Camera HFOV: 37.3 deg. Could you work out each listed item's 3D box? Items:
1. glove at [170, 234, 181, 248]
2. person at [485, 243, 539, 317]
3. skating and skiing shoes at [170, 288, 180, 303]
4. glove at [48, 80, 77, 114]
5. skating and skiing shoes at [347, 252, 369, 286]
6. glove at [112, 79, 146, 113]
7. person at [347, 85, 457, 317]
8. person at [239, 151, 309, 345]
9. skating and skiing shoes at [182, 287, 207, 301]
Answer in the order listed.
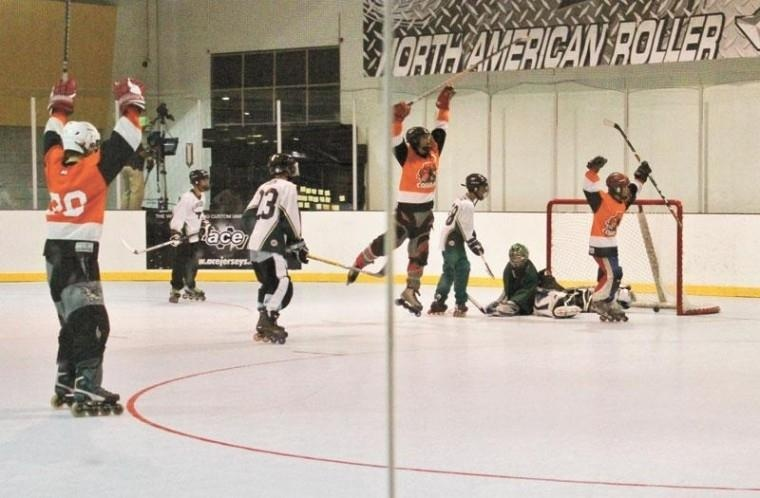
[{"bbox_3d":[-3.090,-0.123,17.073,0.139,0.217,0.052,-1,-17,29],"label":"glove"},{"bbox_3d":[1.748,0.417,15.046,0.670,0.960,0.695,11,10,39],"label":"person"},{"bbox_3d":[-3.008,0.706,16.563,0.118,0.150,0.220,2,2,-10],"label":"skating and skiing shoes"},{"bbox_3d":[-3.292,-1.566,11.692,0.271,0.381,0.163,12,-6,-21],"label":"glove"},{"bbox_3d":[-0.332,0.309,16.481,0.161,0.526,0.230,21,18,-43],"label":"skating and skiing shoes"},{"bbox_3d":[-2.553,-1.579,11.530,0.326,0.312,0.268,-4,-6,25],"label":"glove"},{"bbox_3d":[0.347,-0.696,14.572,1.197,2.975,1.166,4,-4,-15],"label":"person"},{"bbox_3d":[-1.325,-0.050,13.816,1.099,2.024,0.815,-1,1,-37],"label":"person"},{"bbox_3d":[-2.762,0.688,16.796,0.275,0.127,0.202,3,-3,5],"label":"skating and skiing shoes"}]
